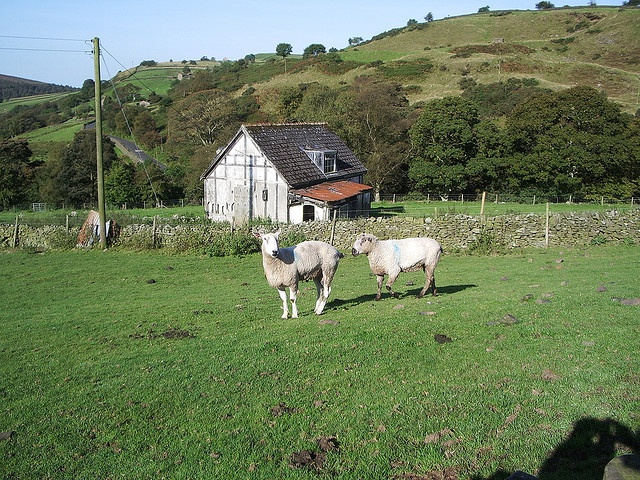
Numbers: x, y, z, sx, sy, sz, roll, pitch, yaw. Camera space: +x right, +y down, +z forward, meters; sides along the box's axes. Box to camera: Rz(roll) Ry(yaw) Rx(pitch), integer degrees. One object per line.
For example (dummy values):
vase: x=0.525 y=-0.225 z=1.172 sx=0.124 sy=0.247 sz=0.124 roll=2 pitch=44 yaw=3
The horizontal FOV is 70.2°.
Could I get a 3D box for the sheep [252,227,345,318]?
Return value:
sheep: x=-0.532 y=1.135 z=15.287 sx=3.625 sy=3.006 sz=1.072 roll=-3 pitch=6 yaw=-39
